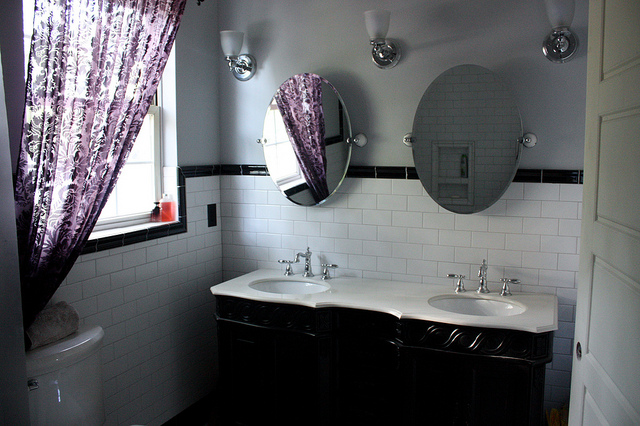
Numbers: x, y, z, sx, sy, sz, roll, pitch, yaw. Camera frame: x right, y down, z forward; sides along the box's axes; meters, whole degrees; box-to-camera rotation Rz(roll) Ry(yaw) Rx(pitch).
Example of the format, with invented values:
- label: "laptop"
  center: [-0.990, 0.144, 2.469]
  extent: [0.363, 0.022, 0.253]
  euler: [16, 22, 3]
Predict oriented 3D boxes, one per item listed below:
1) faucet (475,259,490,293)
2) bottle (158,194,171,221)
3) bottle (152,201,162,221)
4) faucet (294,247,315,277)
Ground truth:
- label: "faucet"
  center: [1.131, 0.437, 3.226]
  extent: [0.094, 0.222, 0.102]
  euler: [-1, 8, -5]
- label: "bottle"
  center: [-1.200, -0.043, 3.583]
  extent: [0.094, 0.199, 0.057]
  euler: [-3, 9, -17]
- label: "bottle"
  center: [-1.255, -0.013, 3.569]
  extent: [0.070, 0.142, 0.052]
  euler: [-3, 9, -20]
- label: "faucet"
  center: [-0.122, 0.376, 3.655]
  extent: [0.156, 0.219, 0.185]
  euler: [0, 8, -1]
